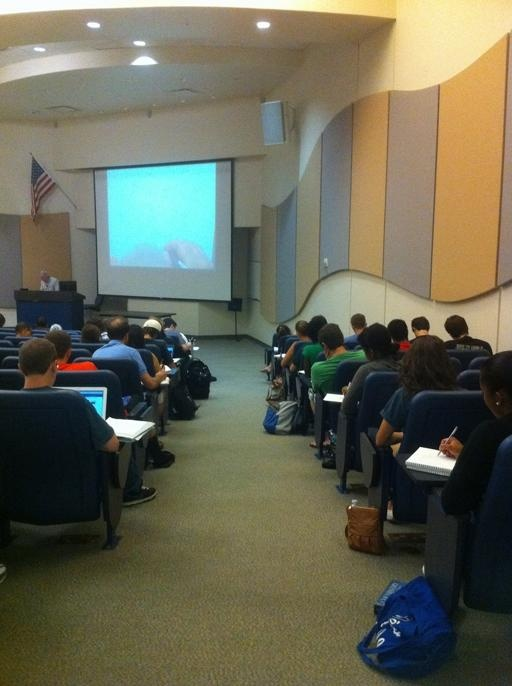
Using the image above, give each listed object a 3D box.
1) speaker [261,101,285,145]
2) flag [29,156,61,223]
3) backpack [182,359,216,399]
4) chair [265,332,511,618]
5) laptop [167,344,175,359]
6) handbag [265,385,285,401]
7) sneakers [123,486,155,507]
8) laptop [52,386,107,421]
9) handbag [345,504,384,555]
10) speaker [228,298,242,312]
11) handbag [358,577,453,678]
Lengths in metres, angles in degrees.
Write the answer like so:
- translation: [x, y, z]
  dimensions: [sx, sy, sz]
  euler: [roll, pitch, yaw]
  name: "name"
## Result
- translation: [0.315, -3.904, 9.479]
  dimensions: [0.434, 0.616, 0.744]
  euler: [0, 2, 2]
  name: "speaker"
- translation: [-5.991, -4.277, 14.655]
  dimensions: [0.675, 1.667, 0.577]
  euler: [1, 2, 29]
  name: "flag"
- translation: [-0.802, 0.463, 7.106]
  dimensions: [0.427, 0.573, 0.432]
  euler: [-7, 6, -10]
  name: "backpack"
- translation: [0.566, 0.529, 2.068]
  dimensions: [0.751, 1.083, 0.833]
  euler: [-1, 6, -7]
  name: "chair"
- translation: [-0.961, 0.095, 5.917]
  dimensions: [0.075, 0.157, 0.148]
  euler: [-1, 8, -4]
  name: "laptop"
- translation: [0.238, 0.594, 6.257]
  dimensions: [0.196, 0.215, 0.108]
  euler: [5, 18, 15]
  name: "handbag"
- translation: [-0.717, 0.932, 3.243]
  dimensions: [0.186, 0.093, 0.070]
  euler: [-8, 12, -33]
  name: "sneakers"
- translation: [-0.857, 0.263, 2.596]
  dimensions: [0.225, 0.243, 0.194]
  euler: [3, 5, 6]
  name: "laptop"
- translation: [0.527, 0.894, 2.578]
  dimensions: [0.173, 0.231, 0.111]
  euler: [2, 12, 23]
  name: "handbag"
- translation: [-0.525, -0.957, 13.354]
  dimensions: [0.346, 0.328, 0.982]
  euler: [0, 2, -2]
  name: "speaker"
- translation: [0.482, 0.926, 1.735]
  dimensions: [0.292, 0.168, 0.344]
  euler: [0, 2, 9]
  name: "handbag"
